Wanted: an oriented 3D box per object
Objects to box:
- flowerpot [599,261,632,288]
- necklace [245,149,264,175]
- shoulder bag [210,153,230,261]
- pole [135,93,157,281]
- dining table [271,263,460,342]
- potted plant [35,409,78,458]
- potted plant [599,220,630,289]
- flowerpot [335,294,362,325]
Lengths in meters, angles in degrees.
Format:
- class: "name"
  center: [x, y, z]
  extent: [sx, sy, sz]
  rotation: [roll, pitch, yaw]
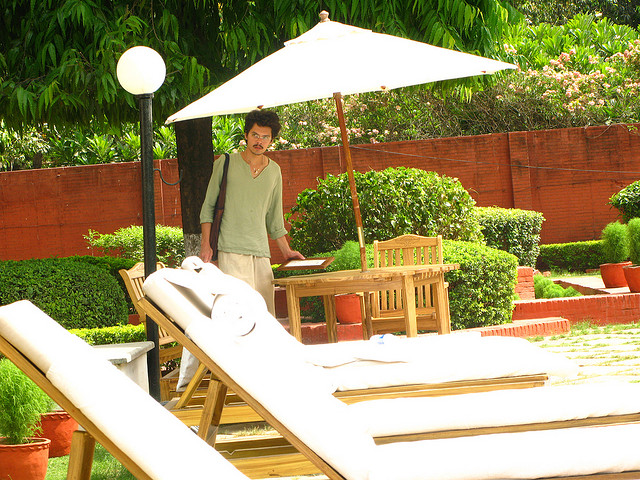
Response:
- class: "flowerpot"
  center: [4.716, 0.548, 13.554]
  extent: [0.386, 0.317, 0.415]
  rotation: [-1, -4, -9]
- class: "necklace"
  center: [-0.673, -0.792, 8.603]
  extent: [0.157, 0.236, 0.060]
  rotation: [-2, -7, -11]
- class: "shoulder bag"
  center: [-1.012, -0.331, 8.584]
  extent: [0.298, 1.047, 0.086]
  rotation: [-9, 8, -35]
- class: "pole"
  center: [-1.680, -0.534, 8.294]
  extent: [0.227, 1.778, 0.442]
  rotation: [-5, 7, -11]
- class: "dining table"
  center: [0.411, 0.441, 8.363]
  extent: [1.056, 0.638, 1.092]
  rotation: [-6, -2, 36]
- class: "potted plant"
  center: [-2.417, 1.773, 7.861]
  extent: [0.376, 0.414, 0.417]
  rotation: [0, -8, -23]
- class: "potted plant"
  center: [4.800, 0.196, 13.759]
  extent: [0.474, 1.082, 0.519]
  rotation: [5, -15, -3]
- class: "flowerpot"
  center: [0.376, 0.900, 11.219]
  extent: [0.332, 0.295, 0.360]
  rotation: [-1, -8, -3]
